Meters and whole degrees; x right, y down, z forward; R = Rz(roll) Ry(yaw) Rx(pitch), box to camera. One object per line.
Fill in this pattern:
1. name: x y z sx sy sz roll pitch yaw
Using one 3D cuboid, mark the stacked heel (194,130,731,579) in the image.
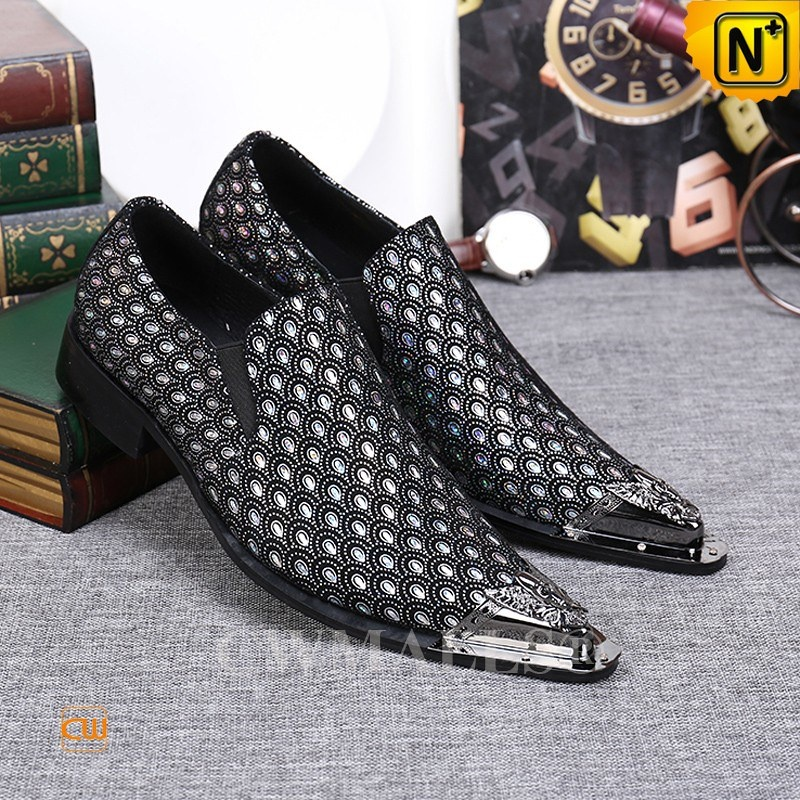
1. stacked heel: 0.088 -0.053 0.982 0.736 0.243 0.187 30 52 9
